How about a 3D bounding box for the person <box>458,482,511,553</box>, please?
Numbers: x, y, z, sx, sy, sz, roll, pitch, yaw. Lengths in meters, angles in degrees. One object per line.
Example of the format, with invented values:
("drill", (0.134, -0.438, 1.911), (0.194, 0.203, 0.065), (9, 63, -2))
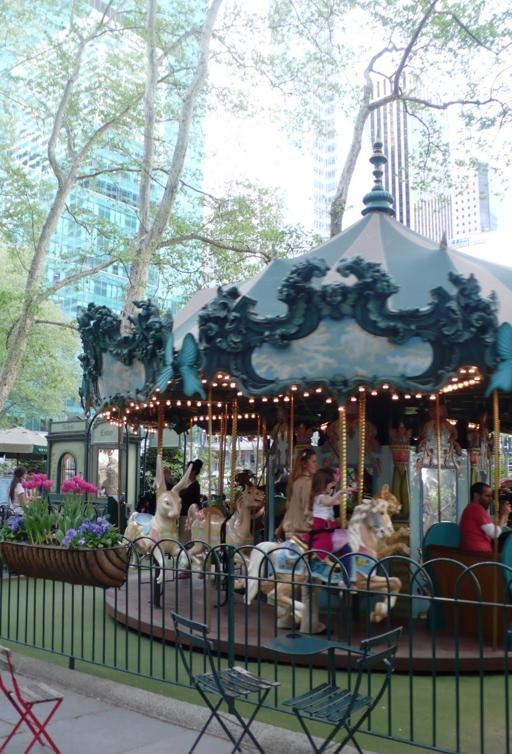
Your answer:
("person", (2.437, 1.512, 8.096), (0.536, 0.744, 1.901), (0, -6, 15))
